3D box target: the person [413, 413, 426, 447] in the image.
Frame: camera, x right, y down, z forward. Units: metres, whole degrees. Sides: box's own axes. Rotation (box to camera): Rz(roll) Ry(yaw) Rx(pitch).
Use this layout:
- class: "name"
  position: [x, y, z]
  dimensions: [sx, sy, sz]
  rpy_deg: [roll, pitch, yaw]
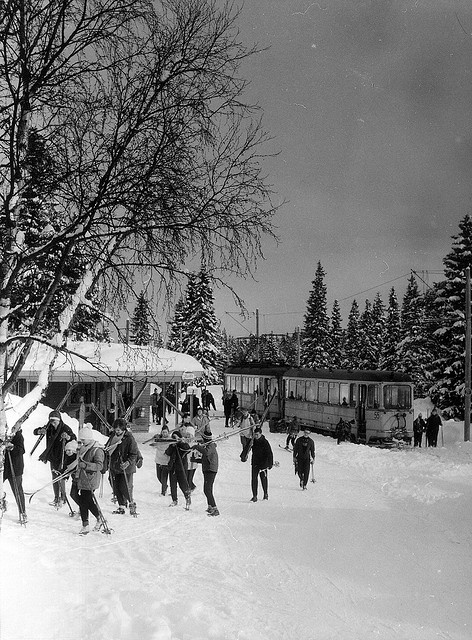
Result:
- class: "person"
  position: [6.996, 4.222, 26.247]
  dimensions: [0.447, 1.289, 1.882]
  rpy_deg: [0, -9, 16]

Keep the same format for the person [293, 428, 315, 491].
- class: "person"
  position: [1.617, 3.250, 16.226]
  dimensions: [0.429, 1.661, 0.387]
  rpy_deg: [5, 19, 13]

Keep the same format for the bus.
- class: "bus"
  position: [3.982, 3.646, 29.775]
  dimensions: [1.464, 3.321, 10.471]
  rpy_deg: [4, -5, -20]

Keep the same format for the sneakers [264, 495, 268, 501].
- class: "sneakers"
  position: [0.640, 3.815, 14.797]
  dimensions: [0.072, 0.168, 0.142]
  rpy_deg: [1, -15, 0]

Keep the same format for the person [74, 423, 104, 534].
- class: "person"
  position: [-2.236, 2.445, 10.562]
  dimensions: [0.432, 1.591, 0.581]
  rpy_deg: [6, -8, -31]

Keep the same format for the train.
- class: "train"
  position: [3.988, 3.752, 29.866]
  dimensions: [1.511, 3.393, 10.492]
  rpy_deg: [3, -5, -19]

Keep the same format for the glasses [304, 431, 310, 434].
- class: "glasses"
  position: [1.631, 2.620, 15.904]
  dimensions: [0.084, 0.086, 0.099]
  rpy_deg: [-2, 1, 17]

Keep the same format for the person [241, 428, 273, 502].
- class: "person"
  position: [0.421, 2.973, 14.387]
  dimensions: [0.576, 1.767, 0.437]
  rpy_deg: [-3, 19, -2]

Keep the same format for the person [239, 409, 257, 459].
- class: "person"
  position: [0.275, 3.003, 18.474]
  dimensions: [0.413, 1.463, 0.311]
  rpy_deg: [10, 21, 21]

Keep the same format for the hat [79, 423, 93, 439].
- class: "hat"
  position: [-2.339, 1.747, 10.792]
  dimensions: [0.150, 0.234, 0.244]
  rpy_deg: [3, -6, -1]

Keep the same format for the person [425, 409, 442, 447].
- class: "person"
  position: [7.427, 4.098, 25.940]
  dimensions: [0.501, 1.415, 1.059]
  rpy_deg: [0, -8, 16]

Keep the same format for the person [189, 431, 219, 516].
- class: "person"
  position: [-0.653, 3.145, 13.997]
  dimensions: [0.645, 2.142, 0.869]
  rpy_deg: [6, -24, -9]

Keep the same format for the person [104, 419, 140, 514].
- class: "person"
  position: [-2.047, 2.670, 12.512]
  dimensions: [0.539, 1.664, 1.356]
  rpy_deg: [3, -8, -11]

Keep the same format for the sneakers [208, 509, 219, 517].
- class: "sneakers"
  position: [-0.409, 3.602, 12.852]
  dimensions: [0.223, 0.231, 0.089]
  rpy_deg: [2, -4, 4]

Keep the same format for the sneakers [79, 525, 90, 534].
- class: "sneakers"
  position: [-2.302, 3.169, 10.471]
  dimensions: [0.140, 0.133, 0.257]
  rpy_deg: [4, -9, -12]

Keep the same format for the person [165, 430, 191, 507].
- class: "person"
  position: [-1.130, 2.949, 13.573]
  dimensions: [0.504, 1.474, 0.828]
  rpy_deg: [3, -7, -6]

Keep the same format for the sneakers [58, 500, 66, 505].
- class: "sneakers"
  position: [-3.243, 3.404, 12.832]
  dimensions: [0.073, 0.051, 0.118]
  rpy_deg: [3, 3, 5]

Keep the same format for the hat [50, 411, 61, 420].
- class: "hat"
  position: [-3.332, 1.774, 12.693]
  dimensions: [0.122, 0.203, 0.215]
  rpy_deg: [-2, -24, -3]

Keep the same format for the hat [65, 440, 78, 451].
- class: "hat"
  position: [-2.881, 2.179, 12.104]
  dimensions: [0.173, 0.239, 0.242]
  rpy_deg: [1, -9, -33]
